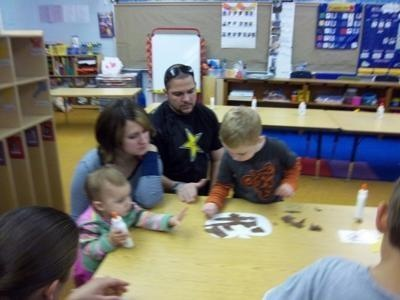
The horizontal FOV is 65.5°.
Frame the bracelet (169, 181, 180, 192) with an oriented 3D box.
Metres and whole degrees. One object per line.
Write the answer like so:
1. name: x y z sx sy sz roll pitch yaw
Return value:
1. bracelet: -0.168 0.249 2.053 0.065 0.066 0.065 2 55 -8
